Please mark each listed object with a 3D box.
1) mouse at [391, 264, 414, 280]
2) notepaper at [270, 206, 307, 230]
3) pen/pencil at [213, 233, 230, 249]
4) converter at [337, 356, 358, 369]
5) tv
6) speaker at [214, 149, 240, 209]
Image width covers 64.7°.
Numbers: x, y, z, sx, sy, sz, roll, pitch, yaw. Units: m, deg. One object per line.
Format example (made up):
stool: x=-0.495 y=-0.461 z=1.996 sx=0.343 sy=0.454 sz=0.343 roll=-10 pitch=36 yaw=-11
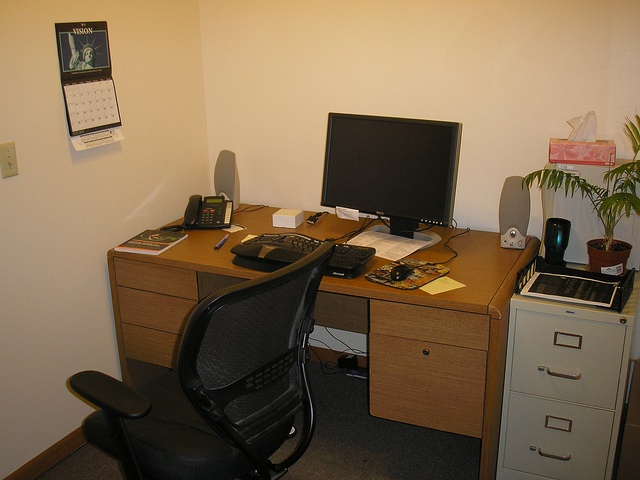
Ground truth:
mouse: x=0.334 y=0.131 z=2.067 sx=0.060 sy=0.055 sz=0.121 roll=11 pitch=21 yaw=31
notepaper: x=-0.160 y=-0.126 z=2.640 sx=0.113 sy=0.059 sz=0.115 roll=6 pitch=23 yaw=14
pen/pencil: x=-0.481 y=0.007 z=2.445 sx=0.023 sy=0.017 sz=0.119 roll=-7 pitch=22 yaw=21
converter: x=0.163 y=0.722 z=3.012 sx=0.129 sy=0.073 sz=0.089 roll=2 pitch=4 yaw=8
tv: x=0.341 y=-0.280 z=2.381 sx=0.557 sy=0.495 sz=0.241 roll=12 pitch=24 yaw=25
speaker: x=-0.516 y=-0.357 z=2.811 sx=0.126 sy=0.290 sz=0.104 roll=10 pitch=15 yaw=20
